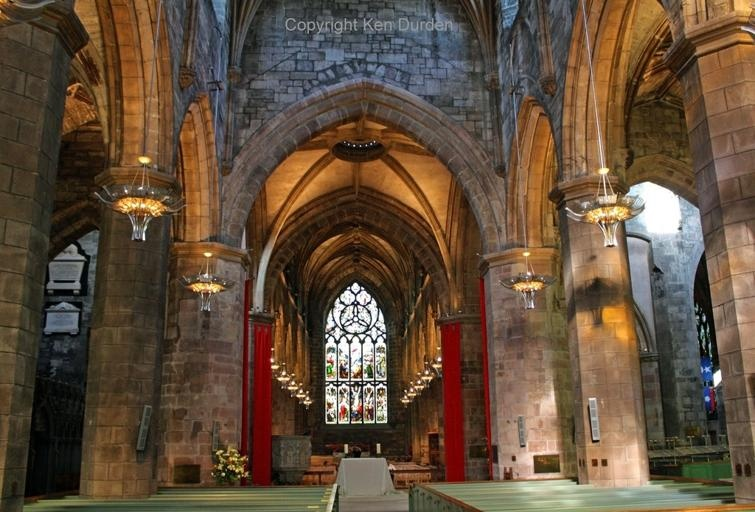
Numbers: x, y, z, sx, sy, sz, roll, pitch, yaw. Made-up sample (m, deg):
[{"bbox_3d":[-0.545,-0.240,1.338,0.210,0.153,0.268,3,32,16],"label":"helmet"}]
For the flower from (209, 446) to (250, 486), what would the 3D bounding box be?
[{"bbox_3d":[-3.876,5.299,17.760,1.016,0.820,1.027,-3,24,-2],"label":"flower"}]

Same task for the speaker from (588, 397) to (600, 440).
[{"bbox_3d":[4.528,3.414,14.516,0.224,0.900,0.123,-6,-21,11],"label":"speaker"}]

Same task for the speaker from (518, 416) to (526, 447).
[{"bbox_3d":[3.893,4.731,18.729,0.232,0.831,0.119,-9,-21,19],"label":"speaker"}]

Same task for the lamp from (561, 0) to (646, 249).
[{"bbox_3d":[4.576,-2.611,14.688,1.334,5.420,2.111,-8,-21,16],"label":"lamp"}]

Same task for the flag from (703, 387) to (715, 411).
[{"bbox_3d":[13.632,5.889,28.575,0.289,1.118,0.888,-15,-24,32],"label":"flag"}]

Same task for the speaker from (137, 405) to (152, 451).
[{"bbox_3d":[-4.508,3.335,13.501,0.104,0.883,0.230,-16,-24,33],"label":"speaker"}]
